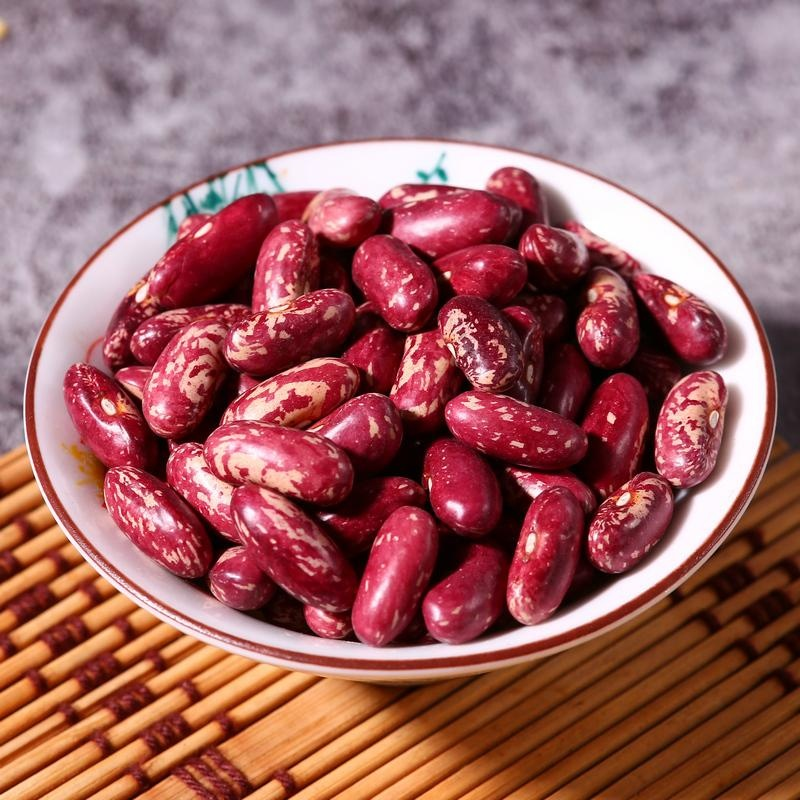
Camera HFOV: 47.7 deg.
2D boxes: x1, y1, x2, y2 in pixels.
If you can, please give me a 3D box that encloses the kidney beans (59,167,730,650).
[{"bbox_3d":[-0.001,-0.029,0.716,0.522,0.157,0.449,-14,70,-7],"label":"kidney beans"}]
